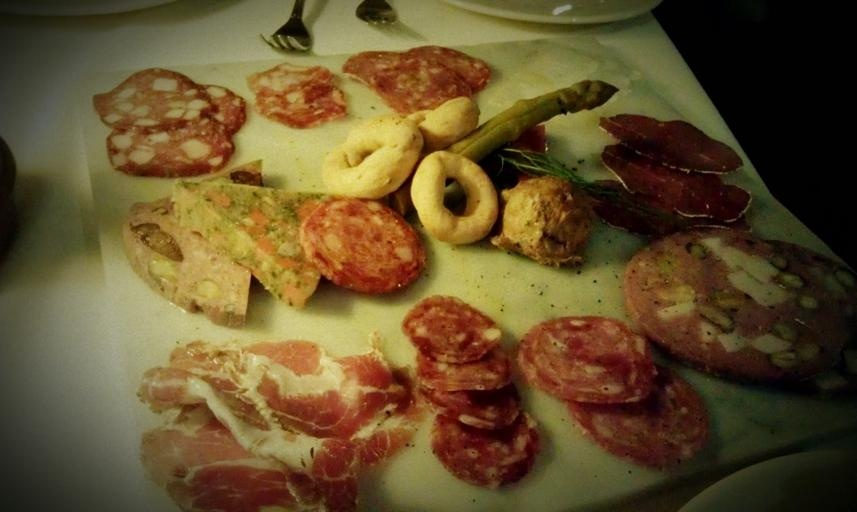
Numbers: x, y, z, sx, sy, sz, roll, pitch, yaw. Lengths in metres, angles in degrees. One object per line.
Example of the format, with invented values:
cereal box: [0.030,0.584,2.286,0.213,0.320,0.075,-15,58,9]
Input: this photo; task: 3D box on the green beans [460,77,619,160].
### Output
green beans: [0.476,-0.575,3.143,0.674,0.085,0.124,-28,54,-11]
